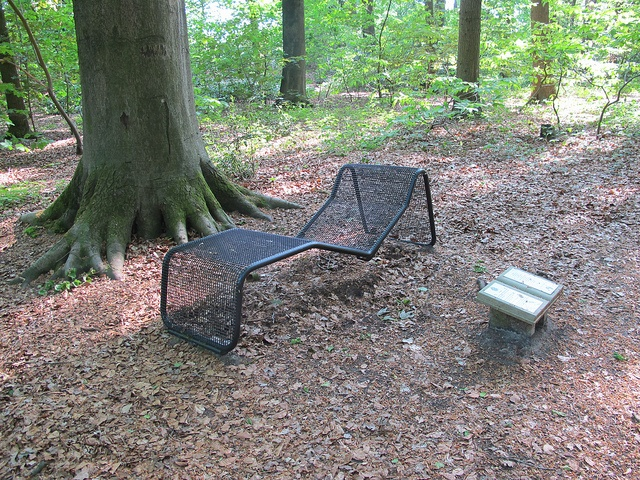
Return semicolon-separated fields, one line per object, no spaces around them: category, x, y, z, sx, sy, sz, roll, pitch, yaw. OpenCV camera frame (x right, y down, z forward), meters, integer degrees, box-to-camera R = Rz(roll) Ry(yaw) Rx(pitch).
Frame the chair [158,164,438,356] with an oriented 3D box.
chair;-0.326;0.069;6.329;4.065;1.271;1.459;-21;28;-40

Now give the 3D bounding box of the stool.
stool;2.012;0.629;5.711;0.641;0.393;0.739;29;43;36
